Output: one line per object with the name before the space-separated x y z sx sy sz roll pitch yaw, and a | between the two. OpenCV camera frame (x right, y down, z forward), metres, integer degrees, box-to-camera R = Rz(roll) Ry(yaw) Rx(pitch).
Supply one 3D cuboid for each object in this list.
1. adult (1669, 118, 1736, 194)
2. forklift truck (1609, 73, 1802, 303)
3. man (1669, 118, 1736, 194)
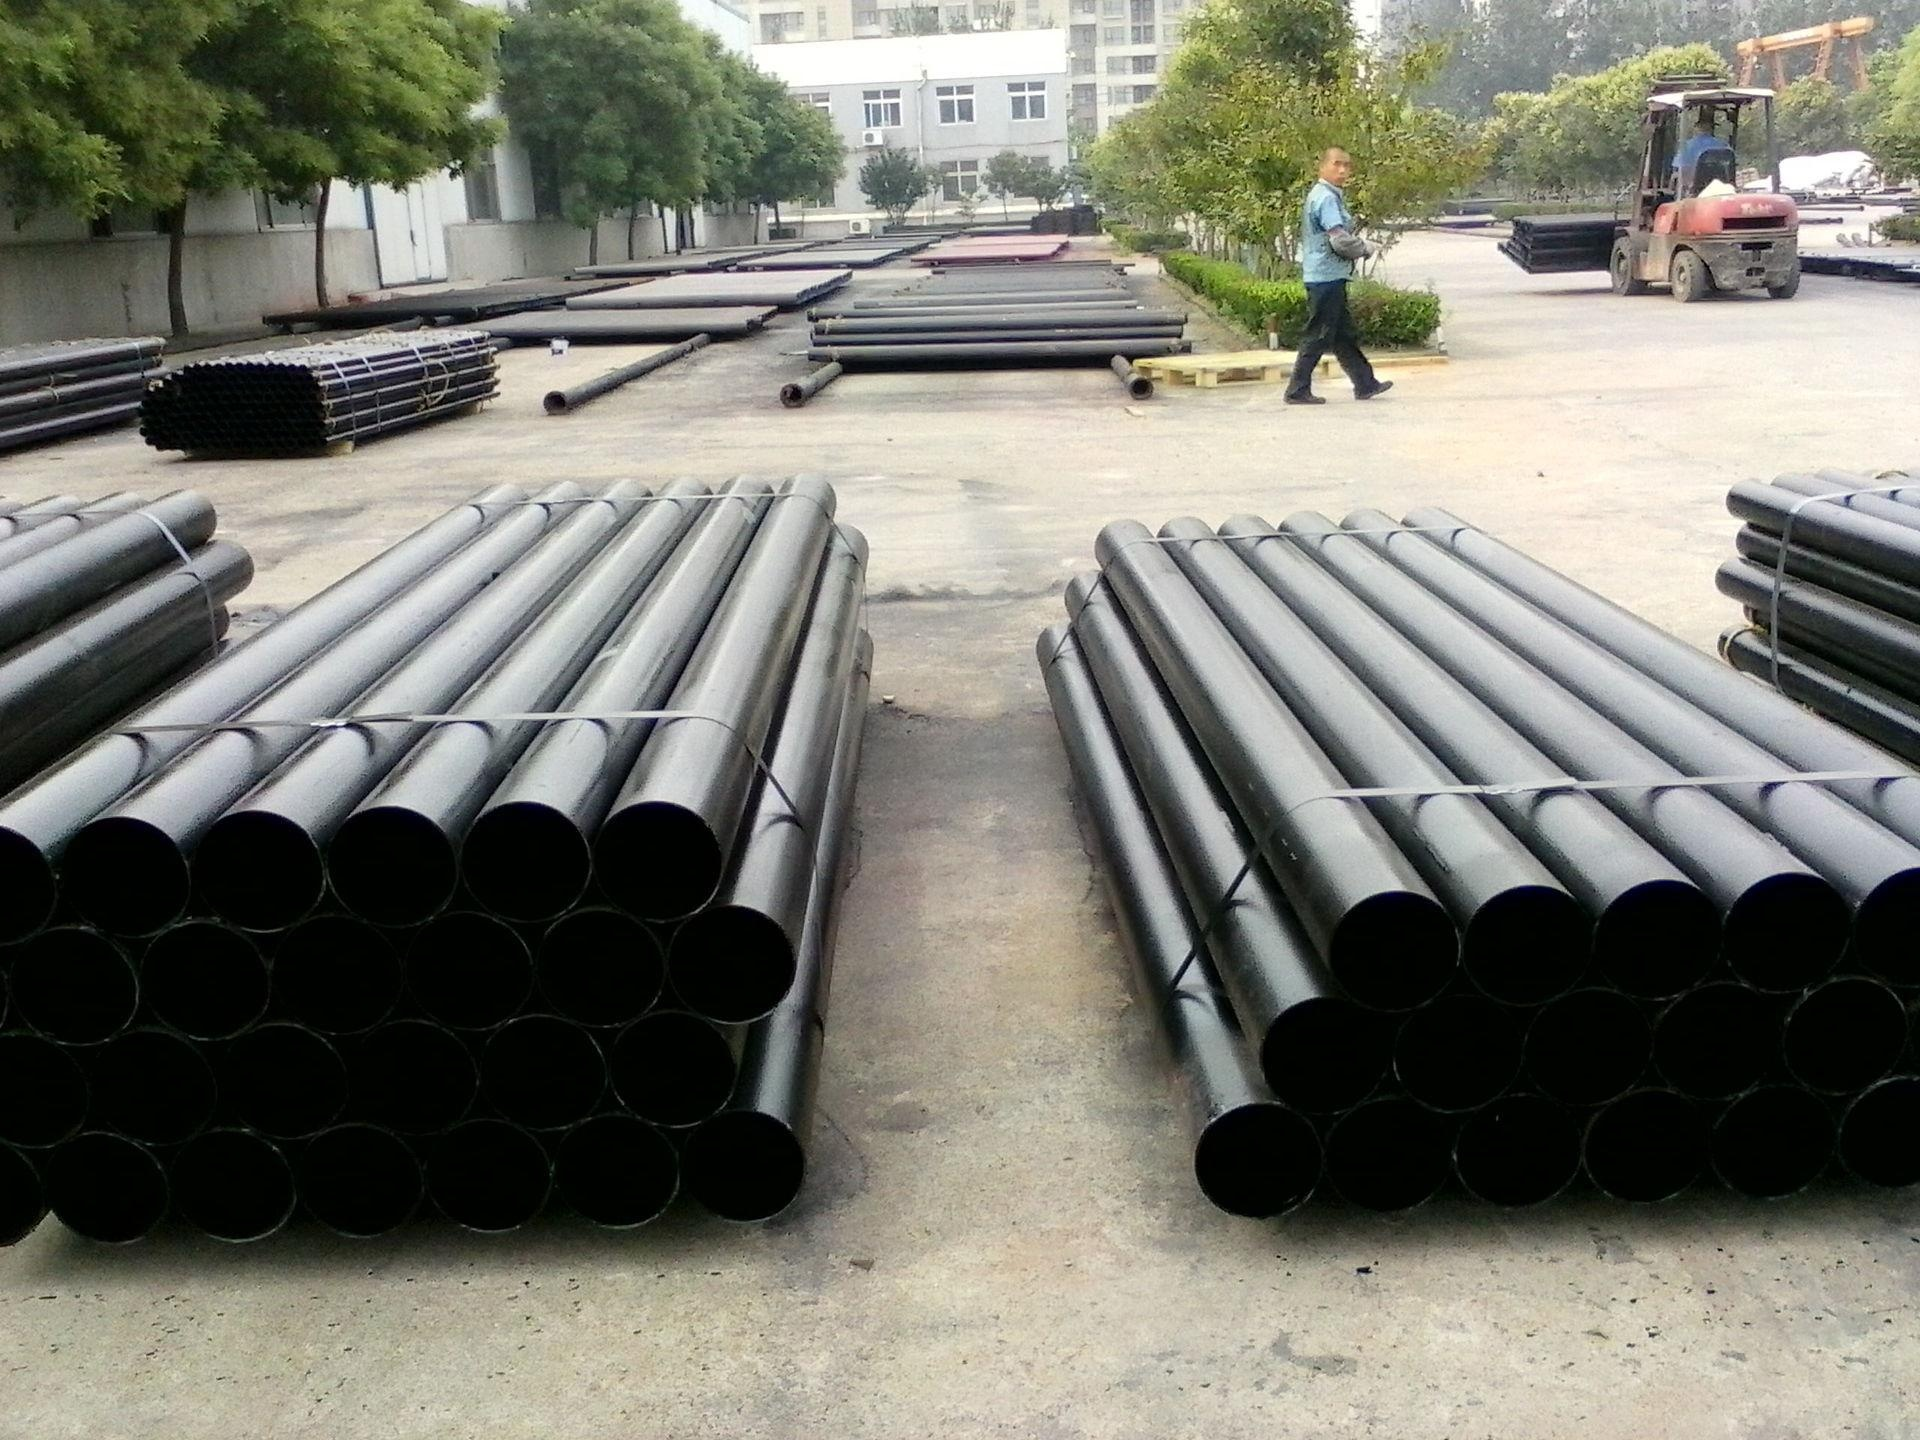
adult | 10.071 -7.590 17.254 0.653 0.736 1.115 -2 28 12
forklift truck | 10.440 -7.576 18.197 1.546 2.833 3.680 -6 22 7
man | 10.039 -7.582 17.300 0.659 0.761 1.158 -2 24 3
